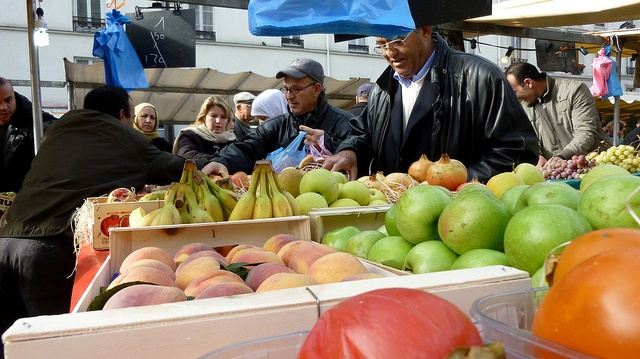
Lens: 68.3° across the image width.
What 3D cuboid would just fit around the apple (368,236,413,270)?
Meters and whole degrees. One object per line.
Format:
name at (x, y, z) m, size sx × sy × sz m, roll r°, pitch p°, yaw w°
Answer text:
apple at (0.565, 0.530, 3.719) m, size 0.299 × 0.284 × 0.232 m, roll 0°, pitch 1°, yaw 16°

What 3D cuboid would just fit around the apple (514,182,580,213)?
apple at (1.733, 0.087, 3.570) m, size 0.270 × 0.288 × 0.329 m, roll 0°, pitch 1°, yaw -28°

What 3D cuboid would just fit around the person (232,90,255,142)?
person at (-1.432, -1.209, 8.687) m, size 0.556 × 1.157 × 0.421 m, roll 3°, pitch 3°, yaw 42°

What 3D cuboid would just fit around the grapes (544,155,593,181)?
grapes at (3.008, -0.166, 5.756) m, size 0.475 × 0.319 × 0.555 m, roll 0°, pitch 3°, yaw 26°

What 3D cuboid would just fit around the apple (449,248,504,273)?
apple at (1.163, 0.589, 3.441) m, size 0.407 × 0.155 × 0.189 m, roll 1°, pitch 10°, yaw 13°

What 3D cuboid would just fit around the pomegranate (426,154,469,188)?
pomegranate at (1.255, -0.119, 4.876) m, size 0.388 × 0.386 × 0.379 m, roll -22°, pitch 10°, yaw -16°

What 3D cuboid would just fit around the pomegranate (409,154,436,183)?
pomegranate at (1.134, -0.109, 5.199) m, size 0.293 × 0.326 × 0.292 m, roll -7°, pitch 18°, yaw -21°

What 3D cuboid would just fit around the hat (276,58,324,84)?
hat at (-0.251, -1.480, 6.398) m, size 0.655 × 0.354 × 0.352 m, roll -4°, pitch 10°, yaw -15°
